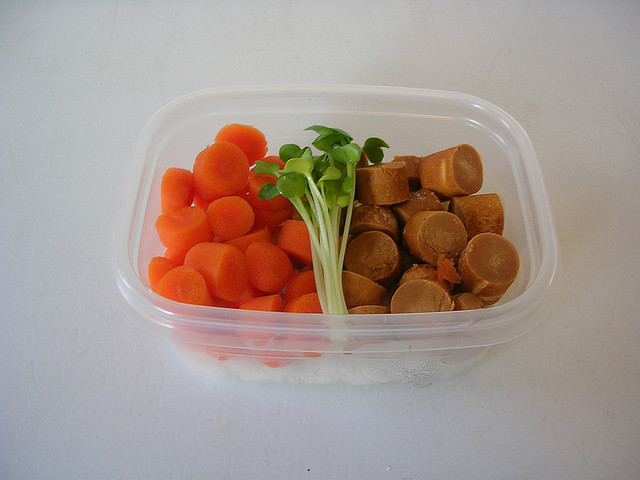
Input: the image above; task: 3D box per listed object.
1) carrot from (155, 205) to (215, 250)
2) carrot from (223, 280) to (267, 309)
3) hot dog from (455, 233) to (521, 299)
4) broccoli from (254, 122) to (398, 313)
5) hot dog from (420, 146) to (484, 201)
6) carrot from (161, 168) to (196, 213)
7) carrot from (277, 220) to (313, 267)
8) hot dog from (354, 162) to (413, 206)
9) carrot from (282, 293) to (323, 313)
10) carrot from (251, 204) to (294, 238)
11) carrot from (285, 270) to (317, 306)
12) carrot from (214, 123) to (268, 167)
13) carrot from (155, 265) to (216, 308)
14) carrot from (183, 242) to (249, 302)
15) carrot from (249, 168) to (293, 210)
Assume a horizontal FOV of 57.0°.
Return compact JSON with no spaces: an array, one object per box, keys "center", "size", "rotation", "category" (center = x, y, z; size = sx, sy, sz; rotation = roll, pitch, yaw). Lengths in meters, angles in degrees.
[{"center":[-0.398,-0.035,1.730],"size":[0.167,0.109,0.162],"rotation":[-9,-4,5],"category":"carrot"},{"center":[-0.217,0.163,1.678],"size":[0.081,0.088,0.065],"rotation":[1,-18,-1],"category":"carrot"},{"center":[0.463,0.074,1.640],"size":[0.166,0.160,0.054],"rotation":[-10,-5,-9],"category":"hot dog"},{"center":[0.051,-0.004,1.661],"size":[0.344,0.528,0.268],"rotation":[-1,-25,17],"category":"broccoli"},{"center":[0.420,-0.184,1.745],"size":[0.122,0.143,0.126],"rotation":[25,24,34],"category":"hot dog"},{"center":[-0.421,-0.148,1.729],"size":[0.104,0.117,0.061],"rotation":[3,10,3],"category":"carrot"},{"center":[-0.072,0.005,1.759],"size":[0.113,0.124,0.115],"rotation":[10,-34,-9],"category":"carrot"},{"center":[0.182,-0.165,1.766],"size":[0.163,0.125,0.185],"rotation":[-8,11,-11],"category":"hot dog"},{"center":[-0.042,0.178,1.638],"size":[0.085,0.053,0.050],"rotation":[-7,28,-6],"category":"carrot"},{"center":[-0.145,-0.064,1.811],"size":[0.089,0.076,0.103],"rotation":[-4,25,-4],"category":"carrot"},{"center":[-0.050,0.142,1.711],"size":[0.097,0.063,0.080],"rotation":[15,23,18],"category":"carrot"},{"center":[-0.245,-0.279,1.783],"size":[0.113,0.086,0.143],"rotation":[31,-10,-36],"category":"carrot"},{"center":[-0.366,0.127,1.593],"size":[0.112,0.121,0.115],"rotation":[0,-4,-15],"category":"carrot"},{"center":[-0.308,0.089,1.688],"size":[0.178,0.166,0.148],"rotation":[4,3,32],"category":"carrot"},{"center":[-0.151,-0.158,1.715],"size":[0.122,0.133,0.101],"rotation":[-11,-6,-6],"category":"carrot"}]
